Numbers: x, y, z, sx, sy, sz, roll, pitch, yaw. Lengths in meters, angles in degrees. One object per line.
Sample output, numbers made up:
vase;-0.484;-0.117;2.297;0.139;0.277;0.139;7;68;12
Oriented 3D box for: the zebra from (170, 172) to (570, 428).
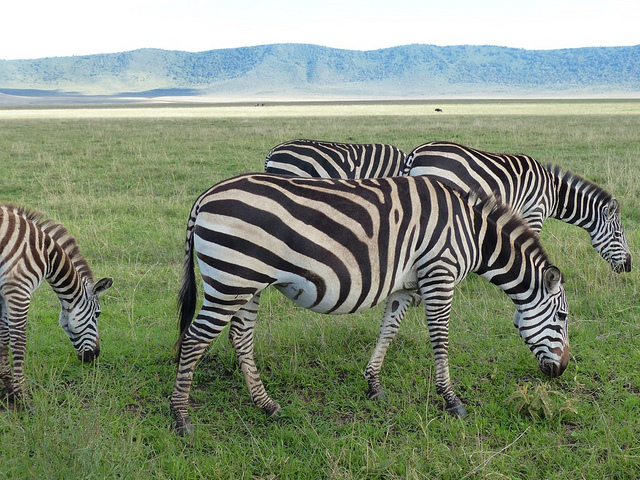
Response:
zebra;1.404;0.150;10.273;7.389;4.577;2.124;-2;8;-9
